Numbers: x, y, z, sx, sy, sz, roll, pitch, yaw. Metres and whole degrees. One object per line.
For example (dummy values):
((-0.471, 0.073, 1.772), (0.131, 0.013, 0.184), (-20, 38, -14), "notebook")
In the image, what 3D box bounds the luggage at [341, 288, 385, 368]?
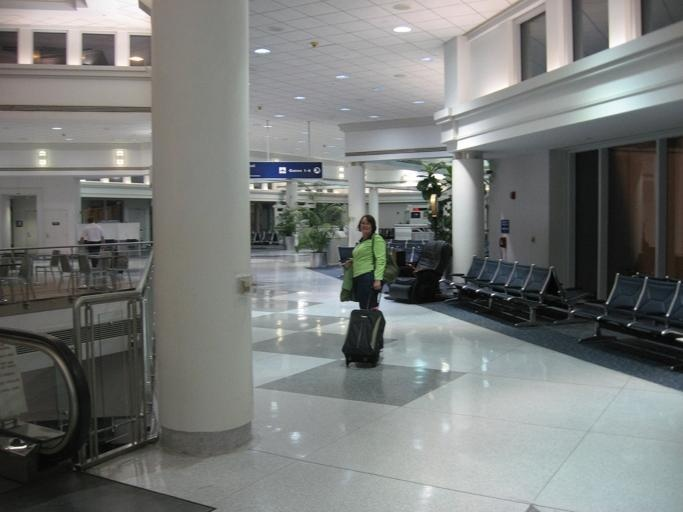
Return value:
((0.290, 1.054, 6.233), (0.498, 0.703, 0.474), (0, 4, 5), "luggage")

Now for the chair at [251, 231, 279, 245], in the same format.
((-5.324, -1.212, 34.150), (2.356, 0.968, 0.977), (2, 5, -30), "chair")
